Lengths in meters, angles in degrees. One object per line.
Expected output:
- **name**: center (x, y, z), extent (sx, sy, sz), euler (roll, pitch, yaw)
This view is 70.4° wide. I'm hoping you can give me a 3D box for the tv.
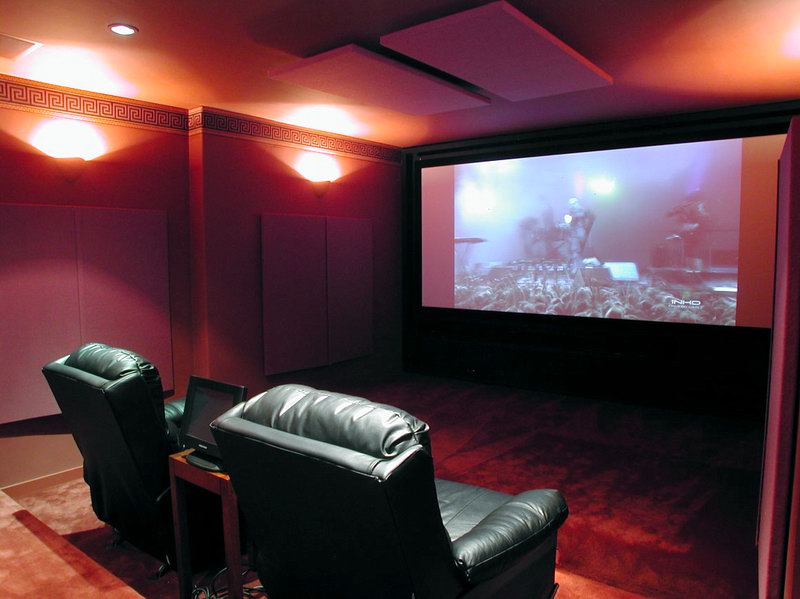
- **tv**: center (-0.870, 0.598, 2.669), extent (0.392, 0.391, 0.206), euler (3, 8, 39)
